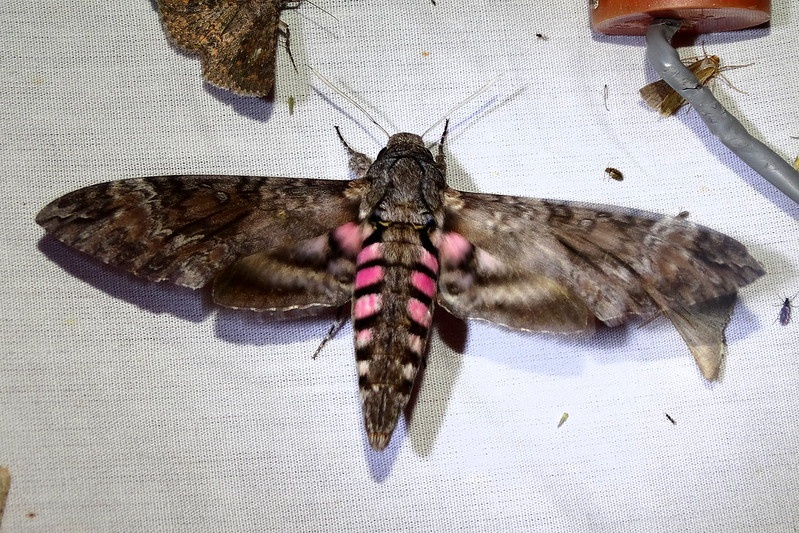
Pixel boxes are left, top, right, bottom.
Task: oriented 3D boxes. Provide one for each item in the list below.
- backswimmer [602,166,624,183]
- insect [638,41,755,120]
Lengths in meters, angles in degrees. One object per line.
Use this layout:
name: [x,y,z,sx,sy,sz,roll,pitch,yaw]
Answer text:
backswimmer: [0.512,-0.225,1.821,0.040,0.028,0.012,18,-4,3]
insect: [0.704,-0.450,1.816,0.072,0.236,0.249,42,-49,15]
